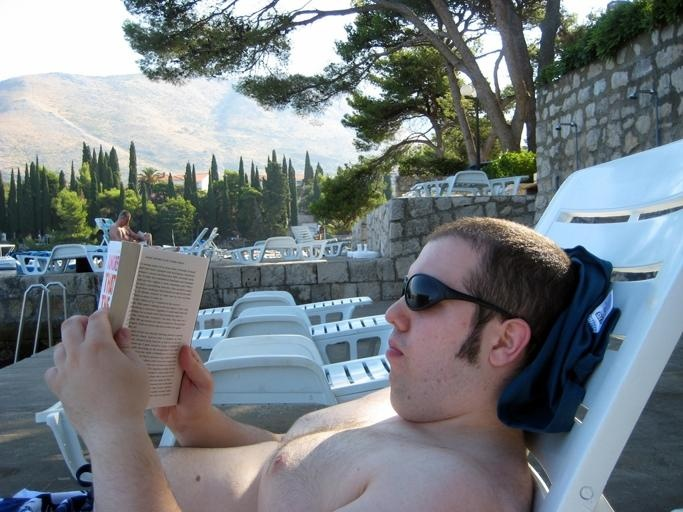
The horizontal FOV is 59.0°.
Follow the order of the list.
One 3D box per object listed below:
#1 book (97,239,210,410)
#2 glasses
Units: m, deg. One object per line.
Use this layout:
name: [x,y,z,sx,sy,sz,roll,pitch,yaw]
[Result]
book: [-0.615,0.236,1.981,0.361,0.563,0.196,6,23,-15]
glasses: [0.326,0.126,1.893,0.202,0.063,0.169,15,-10,4]
